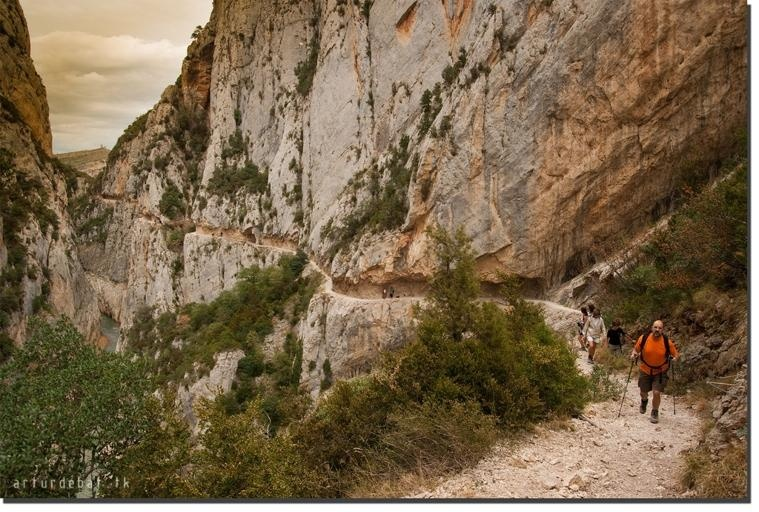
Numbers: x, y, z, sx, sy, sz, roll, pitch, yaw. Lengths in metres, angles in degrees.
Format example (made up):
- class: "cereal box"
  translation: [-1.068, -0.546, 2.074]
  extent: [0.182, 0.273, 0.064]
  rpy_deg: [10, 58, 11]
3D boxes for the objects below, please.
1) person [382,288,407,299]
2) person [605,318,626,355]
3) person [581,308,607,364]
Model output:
- class: "person"
  translation: [0.805, 2.321, 50.558]
  extent: [1.594, 0.722, 0.719]
  rpy_deg: [3, 1, 24]
- class: "person"
  translation: [11.678, 4.245, 37.208]
  extent: [0.951, 2.514, 0.724]
  rpy_deg: [0, 12, 13]
- class: "person"
  translation: [10.579, 3.775, 37.381]
  extent: [1.022, 2.709, 1.505]
  rpy_deg: [2, 1, 17]
